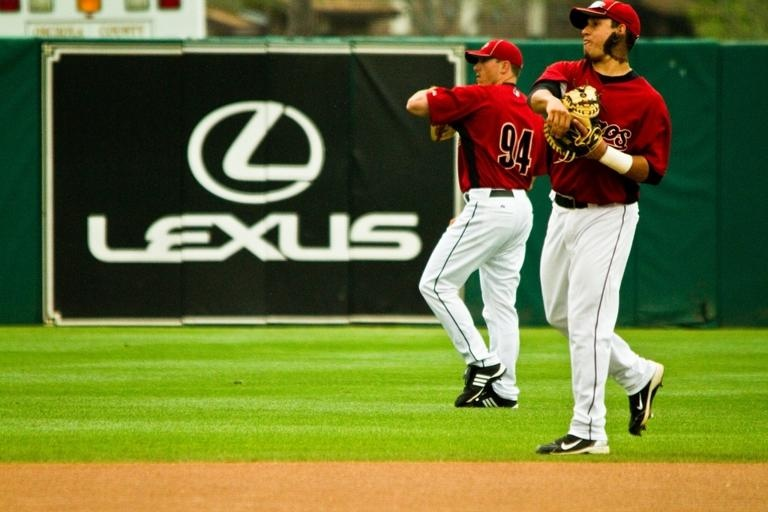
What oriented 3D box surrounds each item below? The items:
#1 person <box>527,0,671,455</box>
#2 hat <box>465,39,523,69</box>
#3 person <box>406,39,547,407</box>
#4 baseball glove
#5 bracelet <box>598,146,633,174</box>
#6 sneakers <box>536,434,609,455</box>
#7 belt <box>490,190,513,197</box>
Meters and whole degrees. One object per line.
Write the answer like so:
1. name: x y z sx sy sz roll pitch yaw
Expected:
1. person: 1.468 -0.197 9.764 0.893 3.152 0.940 11 18 35
2. hat: 0.848 -1.578 10.686 0.417 0.198 0.245 4 7 0
3. person: 0.724 -0.067 10.612 0.970 2.457 0.584 0 14 -1
4. baseball glove: 1.388 -0.938 9.557 0.511 0.383 0.241 -34 8 -33
5. bracelet: 1.604 -0.662 9.520 0.244 0.146 0.101 18 -6 -4
6. sneakers: 1.336 1.341 9.806 0.504 0.188 0.171 2 -7 0
7. belt: 0.896 -0.474 10.500 0.177 0.047 0.022 -2 15 -8
